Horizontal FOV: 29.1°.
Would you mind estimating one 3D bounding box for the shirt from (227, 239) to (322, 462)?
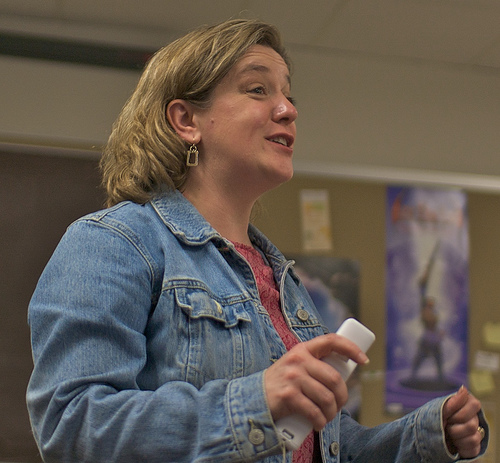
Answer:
[{"bbox_3d":[0.039,0.273,2.068,0.094,0.427,0.229,-25,-31,19],"label":"shirt"}]

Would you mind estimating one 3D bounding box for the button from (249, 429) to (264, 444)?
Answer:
[{"bbox_3d":[0.012,0.385,1.789,0.027,0.027,0.006,0,-3,2],"label":"button"}]

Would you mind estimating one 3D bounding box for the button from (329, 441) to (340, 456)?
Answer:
[{"bbox_3d":[0.181,0.467,2.054,0.007,0.026,0.024,-6,-6,28],"label":"button"}]

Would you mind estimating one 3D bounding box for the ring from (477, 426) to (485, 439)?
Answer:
[{"bbox_3d":[0.487,0.425,2.025,0.007,0.020,0.014,-19,-18,30],"label":"ring"}]

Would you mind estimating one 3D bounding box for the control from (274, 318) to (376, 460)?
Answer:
[{"bbox_3d":[0.145,0.308,1.838,0.186,0.273,0.112,-1,-3,8],"label":"control"}]

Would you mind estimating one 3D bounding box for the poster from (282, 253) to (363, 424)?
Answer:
[{"bbox_3d":[0.171,0.340,2.690,0.261,0.537,0.035,1,35,20],"label":"poster"}]

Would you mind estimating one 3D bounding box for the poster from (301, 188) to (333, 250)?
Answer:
[{"bbox_3d":[0.180,-0.035,2.593,0.108,0.239,0.016,1,36,7],"label":"poster"}]
